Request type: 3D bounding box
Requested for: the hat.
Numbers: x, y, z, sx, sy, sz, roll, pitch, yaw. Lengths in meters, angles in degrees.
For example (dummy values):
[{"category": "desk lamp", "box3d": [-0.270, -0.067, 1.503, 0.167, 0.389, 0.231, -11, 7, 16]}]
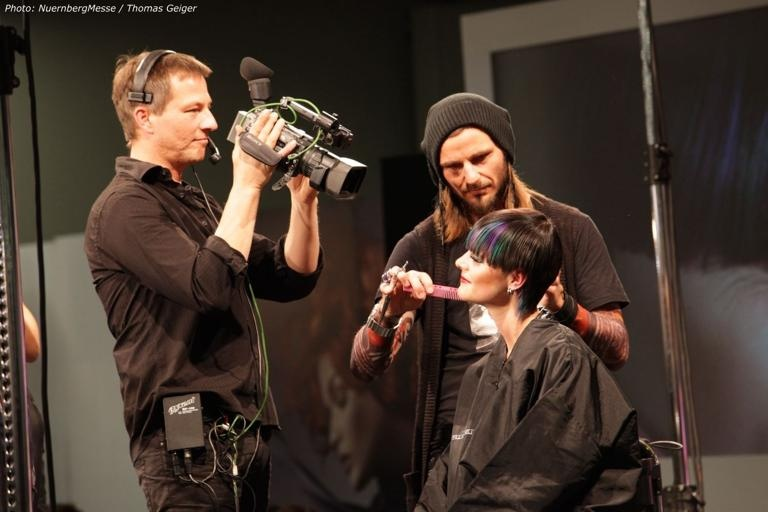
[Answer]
[{"category": "hat", "box3d": [0.341, -0.511, 3.270, 0.307, 0.318, 0.396, -14, -1, 25]}]
